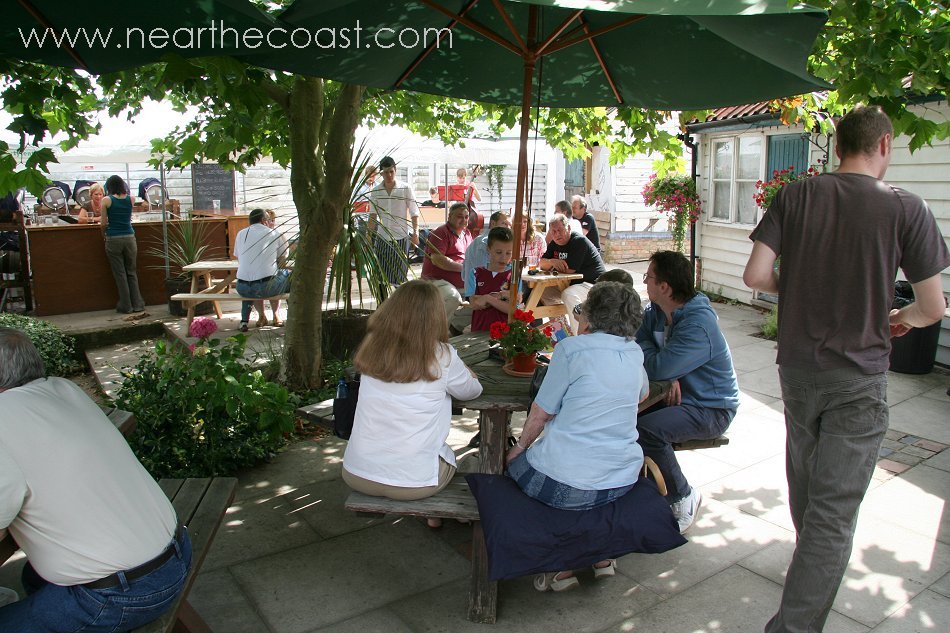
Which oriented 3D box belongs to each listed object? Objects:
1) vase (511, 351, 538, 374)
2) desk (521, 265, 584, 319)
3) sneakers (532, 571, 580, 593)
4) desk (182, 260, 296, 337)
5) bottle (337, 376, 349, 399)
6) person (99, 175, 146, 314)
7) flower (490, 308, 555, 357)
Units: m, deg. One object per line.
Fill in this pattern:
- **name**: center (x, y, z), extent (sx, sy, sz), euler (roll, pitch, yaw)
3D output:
- **vase**: center (0.336, 0.295, 4.393), extent (0.145, 0.126, 0.147), euler (9, 11, 22)
- **desk**: center (0.883, -0.270, 7.989), extent (0.588, 0.381, 0.765), euler (-7, 15, -26)
- **sneakers**: center (0.488, 1.590, 3.918), extent (0.222, 0.078, 0.137), euler (1, 5, 32)
- **desk**: center (-3.240, -0.243, 8.917), extent (1.021, 0.511, 1.060), euler (4, 11, 13)
- **bottle**: center (-0.817, 0.440, 4.078), extent (0.074, 0.124, 0.125), euler (1, -3, -2)
- **person**: center (-5.690, -1.157, 10.401), extent (0.484, 2.154, 0.689), euler (-10, 15, -26)
- **flower**: center (0.304, 0.112, 4.376), extent (0.358, 0.342, 0.349), euler (0, 4, -18)
